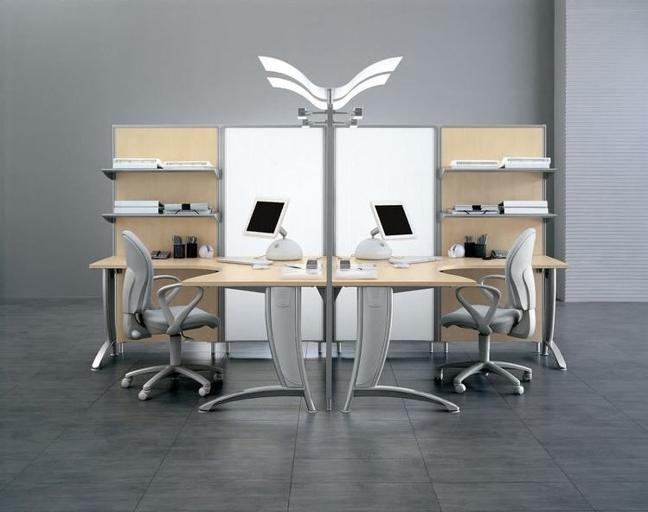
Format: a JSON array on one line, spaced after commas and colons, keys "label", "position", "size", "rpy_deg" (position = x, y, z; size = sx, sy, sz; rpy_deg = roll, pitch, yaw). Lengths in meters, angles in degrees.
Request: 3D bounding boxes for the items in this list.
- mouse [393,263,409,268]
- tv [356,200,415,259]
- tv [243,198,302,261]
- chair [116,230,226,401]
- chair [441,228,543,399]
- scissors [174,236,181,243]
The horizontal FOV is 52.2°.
[{"label": "mouse", "position": [0.656, 0.076, 5.639], "size": [0.109, 0.034, 0.168], "rpy_deg": [-1, 14, -4]}, {"label": "tv", "position": [0.502, -0.227, 6.063], "size": [0.549, 0.498, 0.505], "rpy_deg": [5, 9, 33]}, {"label": "tv", "position": [-0.408, -0.243, 6.024], "size": [0.608, 0.527, 0.487], "rpy_deg": [-2, 8, -27]}, {"label": "chair", "position": [-1.377, 0.458, 6.245], "size": [1.354, 1.805, 1.277], "rpy_deg": [-1, 2, -12]}, {"label": "chair", "position": [1.412, 0.449, 5.784], "size": [0.903, 1.286, 0.862], "rpy_deg": [0, 0, 24]}, {"label": "scissors", "position": [-1.434, -0.158, 6.427], "size": [0.078, 0.074, 0.060], "rpy_deg": [-3, 11, -28]}]
